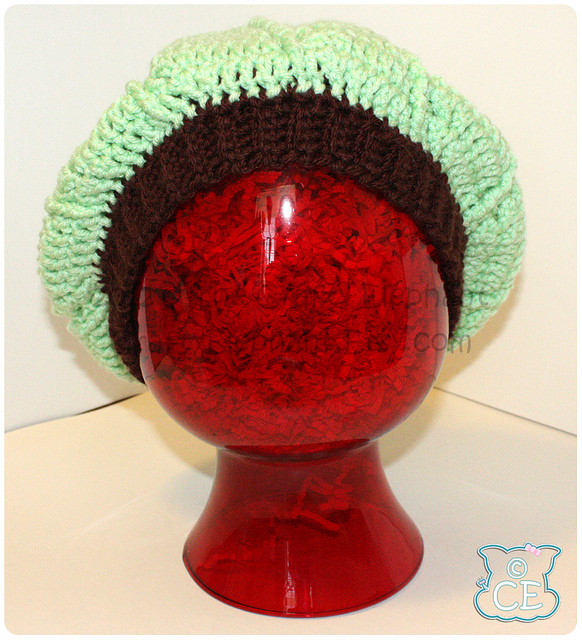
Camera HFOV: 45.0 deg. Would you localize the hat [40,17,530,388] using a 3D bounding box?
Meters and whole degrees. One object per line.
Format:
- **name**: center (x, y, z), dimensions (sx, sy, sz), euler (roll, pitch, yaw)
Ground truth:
- **hat**: center (-0.027, -0.192, 1.119), dimensions (0.793, 0.513, 0.429), euler (-6, -8, 7)
